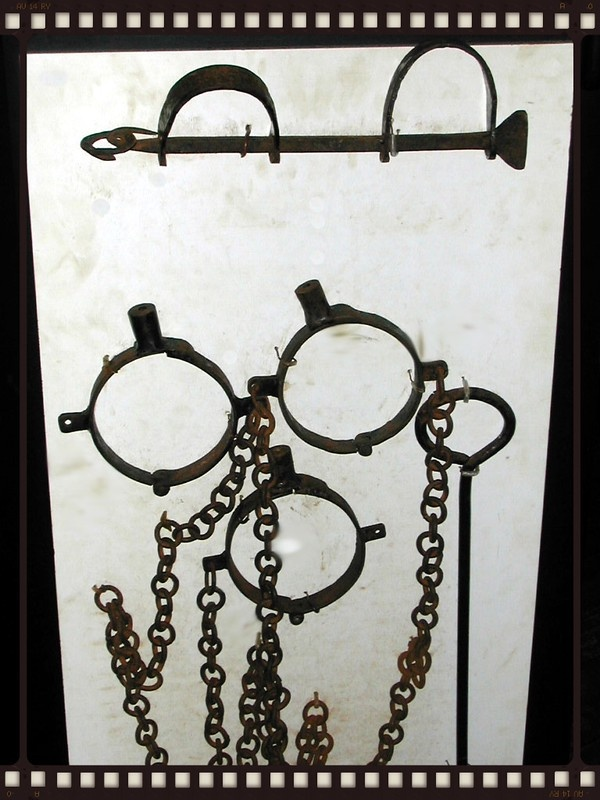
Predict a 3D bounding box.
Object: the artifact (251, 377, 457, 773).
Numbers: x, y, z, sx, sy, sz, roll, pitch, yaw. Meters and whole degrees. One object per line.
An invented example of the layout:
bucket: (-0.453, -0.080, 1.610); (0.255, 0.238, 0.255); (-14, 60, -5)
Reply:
artifact: (0.088, 0.257, 2.364); (0.310, 0.558, 0.394); (0, -11, -2)

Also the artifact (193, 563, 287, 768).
artifact: (-0.107, 0.399, 2.412); (0.087, 0.302, 0.268); (0, -12, -2)

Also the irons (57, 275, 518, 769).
irons: (-0.020, 0.250, 2.404); (0.651, 1.000, 0.104); (-1, 34, 2)
